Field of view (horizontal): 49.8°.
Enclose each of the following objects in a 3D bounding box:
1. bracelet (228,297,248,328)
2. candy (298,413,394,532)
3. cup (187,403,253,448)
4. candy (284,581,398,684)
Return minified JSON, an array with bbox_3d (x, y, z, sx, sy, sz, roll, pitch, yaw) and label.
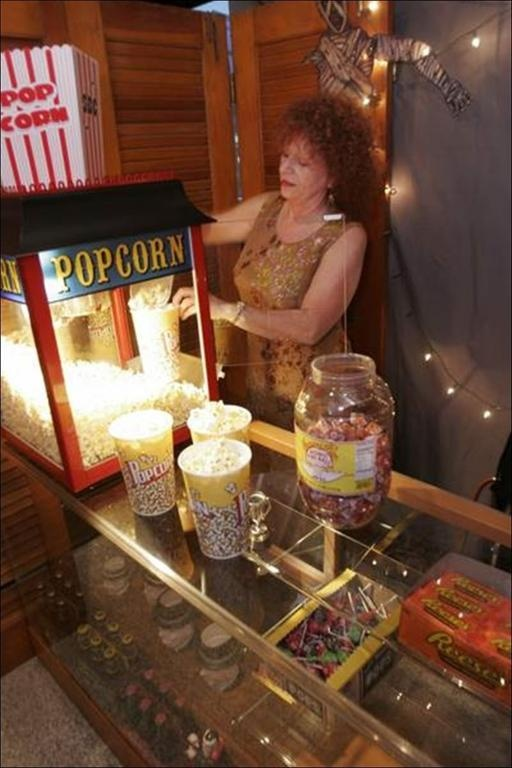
[{"bbox_3d":[-0.032,-0.125,0.972,0.014,0.039,0.033,13,36,-16],"label":"bracelet"},{"bbox_3d":[0.090,0.107,0.725,0.131,0.155,0.133,-3,19,2],"label":"candy"},{"bbox_3d":[-0.059,0.055,0.816,0.071,0.070,0.073,0,14,0],"label":"cup"},{"bbox_3d":[0.105,0.299,0.681,0.141,0.041,0.108,-23,29,-32],"label":"candy"}]
